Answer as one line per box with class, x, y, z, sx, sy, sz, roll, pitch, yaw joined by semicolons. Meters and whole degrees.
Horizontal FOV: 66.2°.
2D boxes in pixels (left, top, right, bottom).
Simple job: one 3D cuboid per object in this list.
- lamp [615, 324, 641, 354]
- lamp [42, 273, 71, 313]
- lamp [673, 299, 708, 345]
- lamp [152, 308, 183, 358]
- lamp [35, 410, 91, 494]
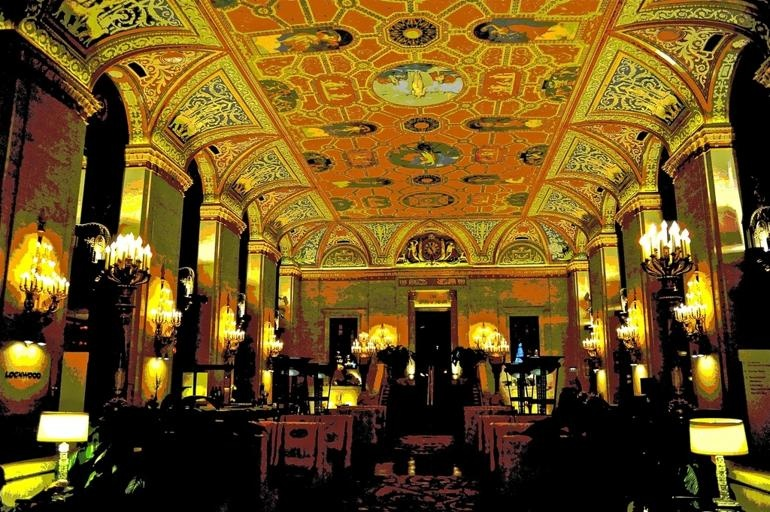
lamp;7.214;2.434;17.915;0.738;0.948;0.696;3;-9;-9
lamp;-5.907;0.652;10.578;0.211;0.547;0.654;9;-6;-8
lamp;6.972;1.491;13.526;0.653;0.882;0.617;-9;10;22
lamp;-5.350;1.883;14.414;0.337;1.200;0.881;7;-6;10
lamp;-4.211;2.444;7.645;0.556;0.733;1.098;11;-6;-28
